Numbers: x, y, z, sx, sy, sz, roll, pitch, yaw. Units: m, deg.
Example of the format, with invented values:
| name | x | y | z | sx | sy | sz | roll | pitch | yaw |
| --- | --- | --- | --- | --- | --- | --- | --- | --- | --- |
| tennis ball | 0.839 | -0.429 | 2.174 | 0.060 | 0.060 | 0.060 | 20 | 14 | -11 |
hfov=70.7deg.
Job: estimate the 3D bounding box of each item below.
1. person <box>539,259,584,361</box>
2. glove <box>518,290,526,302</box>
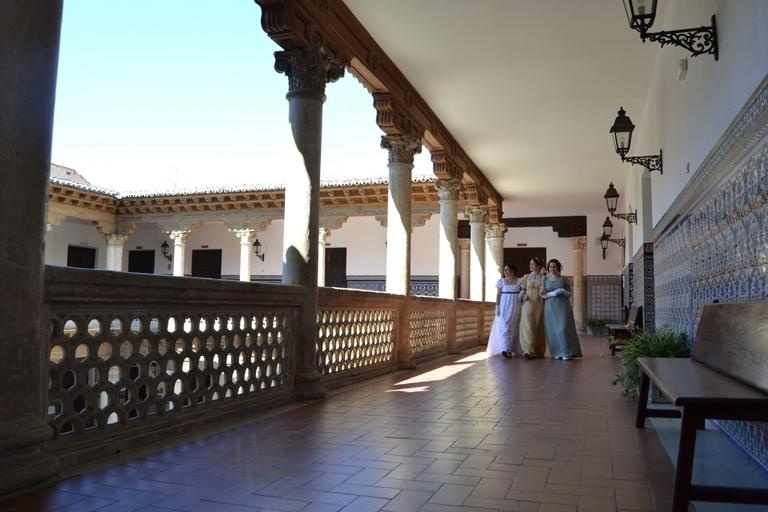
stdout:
| name | x | y | z | sx | sy | sz | roll | pitch | yaw |
| --- | --- | --- | --- | --- | --- | --- | --- | --- | --- |
| person | 3.686 | 1.094 | 11.311 | 0.738 | 2.062 | 0.650 | -1 | -3 | 18 |
| glove | 2.996 | 0.857 | 11.708 | 0.070 | 0.216 | 0.147 | 5 | -5 | -43 |
